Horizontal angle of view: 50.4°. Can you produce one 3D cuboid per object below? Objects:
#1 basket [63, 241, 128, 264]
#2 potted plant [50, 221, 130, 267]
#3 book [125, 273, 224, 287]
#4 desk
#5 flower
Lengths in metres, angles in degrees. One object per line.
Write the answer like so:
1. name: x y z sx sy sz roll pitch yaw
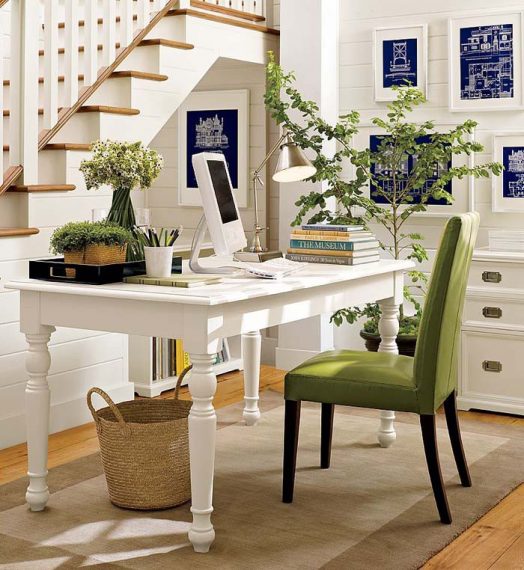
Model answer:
1. basket: -0.504 -0.086 1.681 0.083 0.043 0.125 0 0 32
2. potted plant: -0.527 -0.123 1.704 0.159 0.114 0.174 1 3 17
3. book: -0.252 -0.010 1.606 0.285 0.031 0.202 1 1 -15
4. desk: -0.141 0.329 1.943 0.792 0.834 1.123 3 2 37
5. flower: -0.504 -0.309 1.857 0.290 0.358 0.313 -6 12 -38
